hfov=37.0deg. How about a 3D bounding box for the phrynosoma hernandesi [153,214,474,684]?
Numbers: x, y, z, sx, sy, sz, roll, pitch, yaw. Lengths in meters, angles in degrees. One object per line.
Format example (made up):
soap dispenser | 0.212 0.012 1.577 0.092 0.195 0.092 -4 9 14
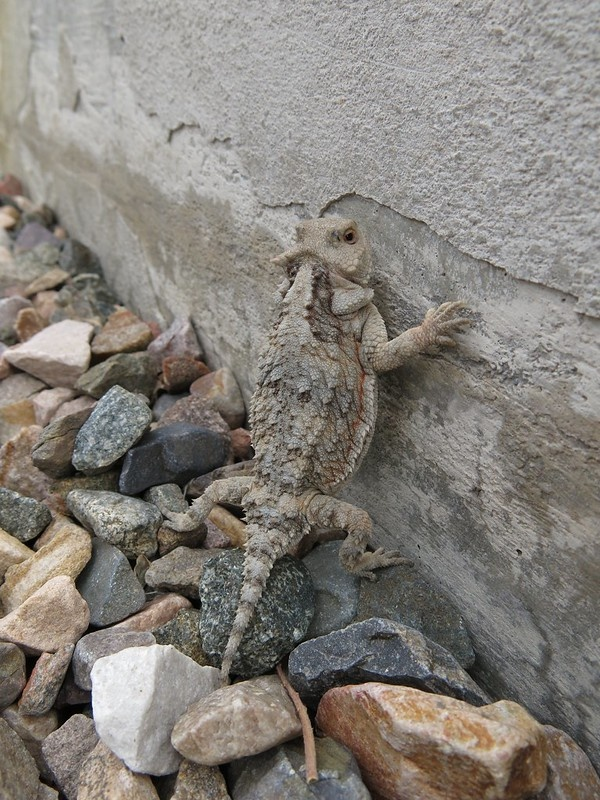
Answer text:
phrynosoma hernandesi | 0.124 0.154 3.243 0.783 0.603 1.492 9 69 26
